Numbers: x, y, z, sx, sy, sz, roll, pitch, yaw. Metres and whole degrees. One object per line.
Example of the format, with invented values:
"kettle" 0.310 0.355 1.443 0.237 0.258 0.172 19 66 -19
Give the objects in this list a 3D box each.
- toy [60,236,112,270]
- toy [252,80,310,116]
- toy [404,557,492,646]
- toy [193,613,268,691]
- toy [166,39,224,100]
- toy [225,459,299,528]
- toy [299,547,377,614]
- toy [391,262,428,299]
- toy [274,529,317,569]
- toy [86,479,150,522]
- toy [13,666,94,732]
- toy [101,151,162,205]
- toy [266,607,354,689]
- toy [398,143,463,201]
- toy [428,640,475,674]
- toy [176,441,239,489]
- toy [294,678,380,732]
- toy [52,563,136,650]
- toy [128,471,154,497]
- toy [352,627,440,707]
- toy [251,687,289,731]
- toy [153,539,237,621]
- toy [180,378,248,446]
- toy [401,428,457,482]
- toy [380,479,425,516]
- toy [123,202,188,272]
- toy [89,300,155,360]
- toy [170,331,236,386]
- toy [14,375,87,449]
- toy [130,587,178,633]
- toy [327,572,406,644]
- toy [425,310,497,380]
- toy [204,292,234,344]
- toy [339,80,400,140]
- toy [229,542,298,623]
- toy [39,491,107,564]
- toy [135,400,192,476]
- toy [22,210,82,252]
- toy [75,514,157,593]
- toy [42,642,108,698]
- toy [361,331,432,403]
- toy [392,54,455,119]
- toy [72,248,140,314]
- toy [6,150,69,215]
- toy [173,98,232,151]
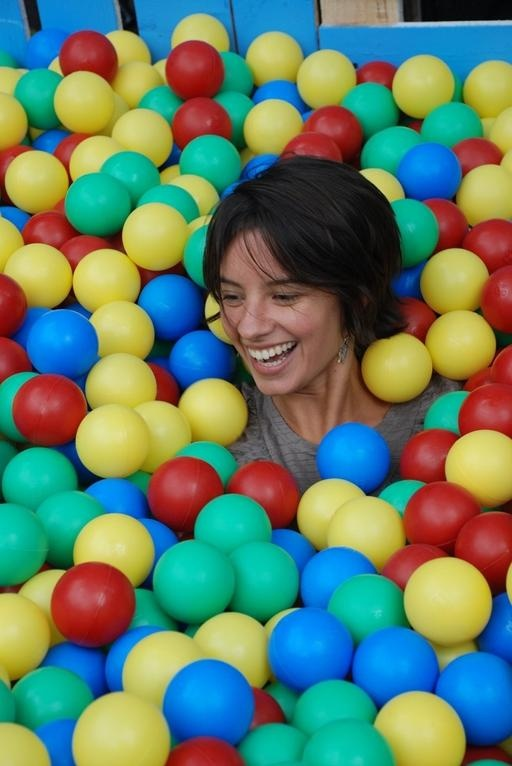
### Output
"toy" -0.499 -0.378 1.943 0.112 0.092 0.095 -2 69 30
"toy" 0.098 -1.116 2.577 0.178 0.196 0.168 5 26 5
"toy" 0.288 0.344 1.083 0.132 0.151 0.128 -18 50 14
"toy" -0.029 0.413 1.049 0.119 0.115 0.131 0 72 2
"toy" -0.219 -1.105 2.371 0.210 0.198 0.156 -11 30 0
"toy" 0.038 0.230 1.479 0.151 0.169 0.148 -1 39 8
"toy" 0.144 0.345 1.196 0.118 0.133 0.112 0 77 5
"toy" 0.449 -0.308 1.986 0.107 0.121 0.105 0 10 6
"toy" 0.080 0.338 1.377 0.070 0.069 0.081 -28 64 3
"toy" -0.298 0.249 1.450 0.102 0.117 0.100 -14 10 -1
"toy" -0.288 0.446 0.942 0.070 0.078 0.066 -2 66 1
"toy" -0.389 -0.676 2.137 0.179 0.175 0.201 -7 44 -6
"toy" 0.080 0.397 0.994 0.125 0.137 0.120 -11 -8 4
"toy" 0.543 -0.652 2.075 0.158 0.156 0.179 -35 35 -18
"toy" 0.308 0.420 1.041 0.054 0.061 0.053 9 3 2
"toy" -0.115 0.174 1.570 0.111 0.123 0.106 -5 32 1
"toy" 0.109 0.434 0.890 0.082 0.091 0.078 -9 44 5
"toy" -0.270 0.369 1.145 0.135 0.128 0.145 22 36 -33
"toy" -0.275 0.239 1.606 0.051 0.059 0.051 -20 7 8
"toy" 0.211 0.425 1.021 0.106 0.103 0.118 -8 51 9
"toy" 0.022 0.463 0.946 0.049 0.056 0.049 2 56 6
"toy" -0.101 0.360 1.209 0.142 0.161 0.131 -13 63 12
"toy" -0.082 0.065 1.824 0.178 0.196 0.172 -1 26 6
"toy" 0.382 0.160 1.510 0.110 0.115 0.136 -9 16 38
"toy" 0.305 0.233 1.416 0.075 0.071 0.086 4 -4 -28
"toy" -0.257 -0.411 1.989 0.193 0.216 0.184 5 63 1
"toy" -0.352 -0.144 1.874 0.165 0.156 0.182 -12 52 -13
"toy" -0.136 -0.073 1.941 0.165 0.184 0.160 0 36 4
"toy" -0.464 0.080 1.503 0.139 0.183 0.112 -7 30 7
"toy" -0.185 0.409 1.209 0.073 0.085 0.071 -23 59 -9
"toy" 0.182 0.352 1.123 0.106 0.103 0.121 -19 2 10
"toy" 0.539 -0.115 1.837 0.186 0.175 0.207 1 11 -7
"toy" -0.121 -0.189 1.907 0.124 0.119 0.139 -1 77 -9
"toy" 0.417 -0.982 2.472 0.193 0.216 0.185 -14 49 5
"toy" 0.022 0.349 1.271 0.140 0.154 0.134 -8 13 0
"toy" -0.347 0.282 1.370 0.143 0.136 0.156 -1 61 -9
"toy" -0.201 0.142 1.653 0.165 0.156 0.181 2 71 4
"toy" -0.643 -0.461 2.145 0.161 0.132 0.140 24 12 7
"toy" -0.249 0.295 1.265 0.139 0.134 0.154 -23 72 -13
"toy" -0.293 0.461 1.111 0.088 0.099 0.085 -7 49 -6
"toy" 0.358 -0.037 1.777 0.174 0.169 0.197 -1 38 11
"toy" 0.572 -1.042 2.430 0.216 0.243 0.205 0 71 5
"toy" -0.430 -0.291 1.891 0.155 0.150 0.172 -18 74 -4
"toy" -0.731 -0.661 2.219 0.200 0.197 0.129 -16 30 -9
"toy" -0.177 -0.885 2.324 0.185 0.204 0.177 2 16 7
